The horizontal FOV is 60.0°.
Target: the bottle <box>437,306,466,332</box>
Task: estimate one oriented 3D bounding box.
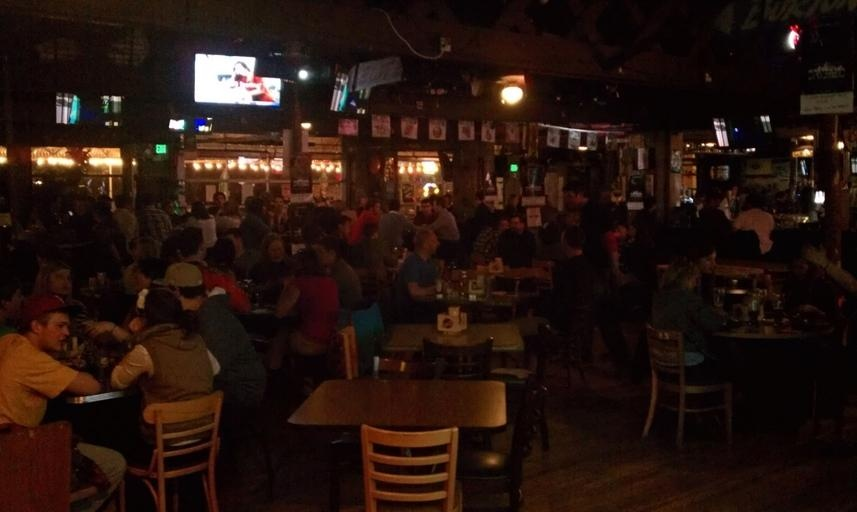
[{"bbox_3d":[0.290,0.722,8.996,0.296,0.284,0.306,0,2,17],"label":"bottle"}]

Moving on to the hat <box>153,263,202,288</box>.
[{"bbox_3d":[-2.749,0.187,8.247,0.374,0.185,0.254,4,6,1],"label":"hat"}]

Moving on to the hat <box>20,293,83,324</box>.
[{"bbox_3d":[-3.718,0.470,7.296,0.439,0.205,0.301,-14,6,-20],"label":"hat"}]

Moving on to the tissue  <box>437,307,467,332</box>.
[{"bbox_3d":[0.292,0.722,8.972,0.302,0.290,0.306,0,2,17],"label":"tissue "}]
